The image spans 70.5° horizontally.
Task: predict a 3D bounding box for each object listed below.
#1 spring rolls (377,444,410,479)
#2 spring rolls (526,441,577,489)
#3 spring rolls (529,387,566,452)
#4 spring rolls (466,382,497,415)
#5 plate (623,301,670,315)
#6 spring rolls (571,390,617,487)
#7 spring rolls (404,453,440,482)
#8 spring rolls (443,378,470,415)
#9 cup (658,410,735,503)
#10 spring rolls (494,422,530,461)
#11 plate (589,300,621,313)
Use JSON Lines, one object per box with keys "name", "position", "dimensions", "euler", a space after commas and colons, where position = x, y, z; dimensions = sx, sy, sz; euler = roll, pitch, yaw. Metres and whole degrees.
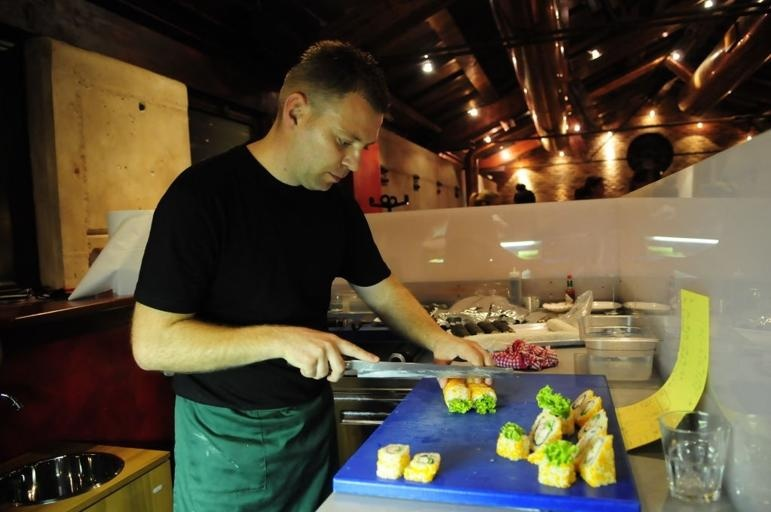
{"name": "spring rolls", "position": [0.021, 0.618, 1.608], "dimensions": [0.073, 0.034, 0.097], "euler": [1, 6, 8]}
{"name": "spring rolls", "position": [0.494, 0.599, 1.564], "dimensions": [0.112, 0.105, 0.107], "euler": [-8, 7, -27]}
{"name": "spring rolls", "position": [0.501, 0.521, 1.693], "dimensions": [0.145, 0.219, 0.124], "euler": [-4, -10, 32]}
{"name": "spring rolls", "position": [0.344, 0.505, 1.969], "dimensions": [0.118, 0.076, 0.232], "euler": [7, 8, 5]}
{"name": "plate", "position": [1.154, 0.238, 2.412], "dimensions": [0.175, 0.035, 0.177], "euler": [0, 0, -15]}
{"name": "spring rolls", "position": [0.639, 0.554, 1.668], "dimensions": [0.106, 0.223, 0.311], "euler": [-2, -5, 20]}
{"name": "spring rolls", "position": [0.113, 0.632, 1.610], "dimensions": [0.107, 0.068, 0.074], "euler": [4, -7, -40]}
{"name": "spring rolls", "position": [0.251, 0.490, 1.959], "dimensions": [0.090, 0.065, 0.181], "euler": [-3, 18, 1]}
{"name": "cup", "position": [0.830, 0.553, 1.570], "dimensions": [0.176, 0.224, 0.233], "euler": [2, 2, 11]}
{"name": "spring rolls", "position": [0.385, 0.570, 1.670], "dimensions": [0.101, 0.096, 0.097], "euler": [12, -4, 29]}
{"name": "plate", "position": [1.333, 0.324, 3.288], "dimensions": [0.158, 0.054, 0.167], "euler": [-3, -6, 25]}
